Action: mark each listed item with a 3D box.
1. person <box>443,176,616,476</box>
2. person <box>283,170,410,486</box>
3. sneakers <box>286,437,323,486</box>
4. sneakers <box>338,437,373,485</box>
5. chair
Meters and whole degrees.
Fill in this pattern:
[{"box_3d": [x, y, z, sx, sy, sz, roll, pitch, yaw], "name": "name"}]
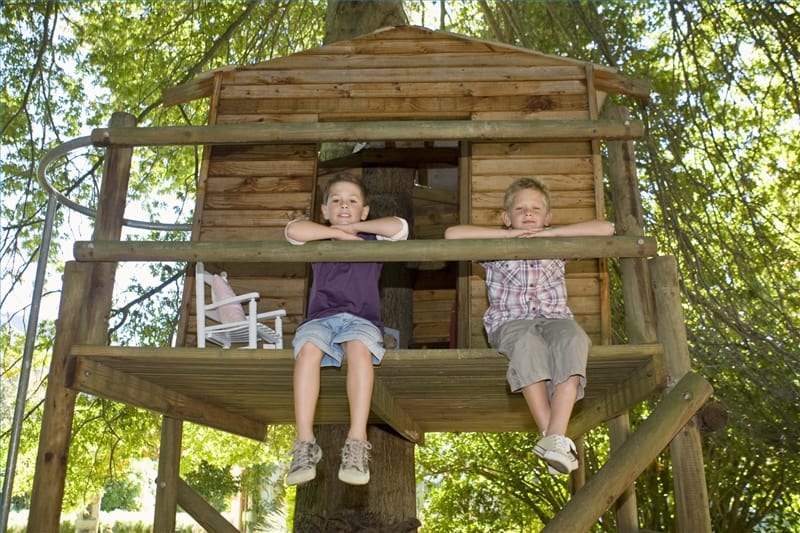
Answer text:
[{"box_3d": [1.193, 0.438, 5.710, 1.515, 2.589, 1.131, -4, -54, 1], "name": "person"}, {"box_3d": [-0.514, 0.444, 5.795, 0.951, 2.690, 0.726, 2, -10, -1], "name": "person"}, {"box_3d": [-0.778, 1.571, 5.361, 0.269, 0.345, 0.224, 4, -10, -14], "name": "sneakers"}, {"box_3d": [-0.375, 1.518, 5.407, 0.251, 0.194, 0.557, 12, 18, -9], "name": "sneakers"}, {"box_3d": [-1.646, 0.499, 6.958, 0.918, 1.076, 0.949, 1, -13, -6], "name": "chair"}]
